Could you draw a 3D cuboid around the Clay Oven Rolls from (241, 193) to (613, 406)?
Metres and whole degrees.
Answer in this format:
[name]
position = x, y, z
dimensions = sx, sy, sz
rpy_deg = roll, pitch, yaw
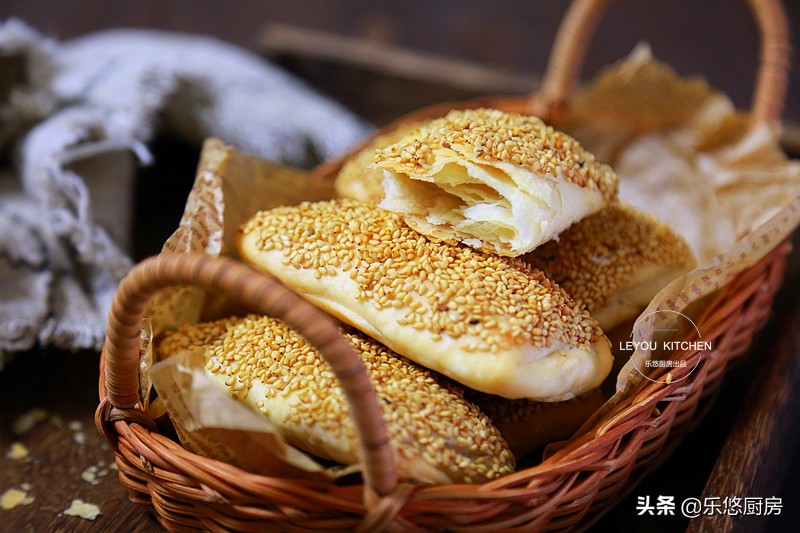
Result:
[Clay Oven Rolls]
position = 0.030, 0.024, 1.396
dimensions = 0.598, 0.161, 0.295
rpy_deg = 23, 27, 13

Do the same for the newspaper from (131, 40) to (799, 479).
[newspaper]
position = 0.163, 0.015, 1.426
dimensions = 1.066, 0.363, 0.665
rpy_deg = -26, 54, -24
